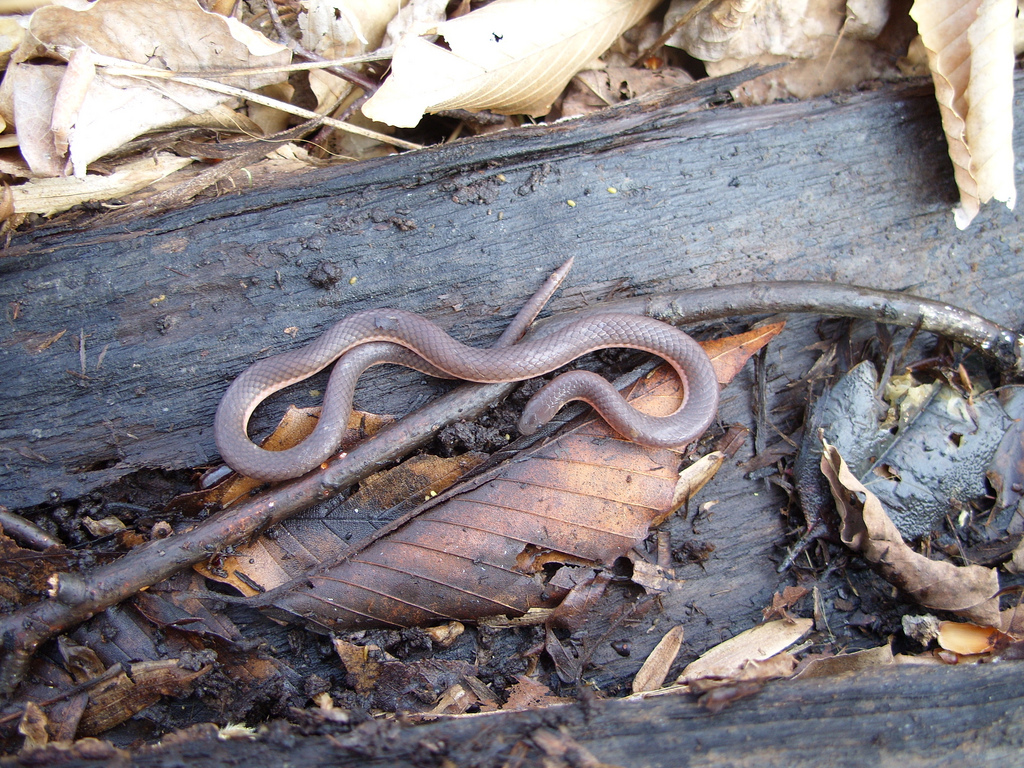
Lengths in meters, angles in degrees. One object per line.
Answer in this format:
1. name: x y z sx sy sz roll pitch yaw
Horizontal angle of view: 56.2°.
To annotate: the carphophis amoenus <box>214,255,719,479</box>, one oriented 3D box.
1. carphophis amoenus: -0.302 -0.009 6.642 3.446 1.308 0.361 -4 -1 -1
